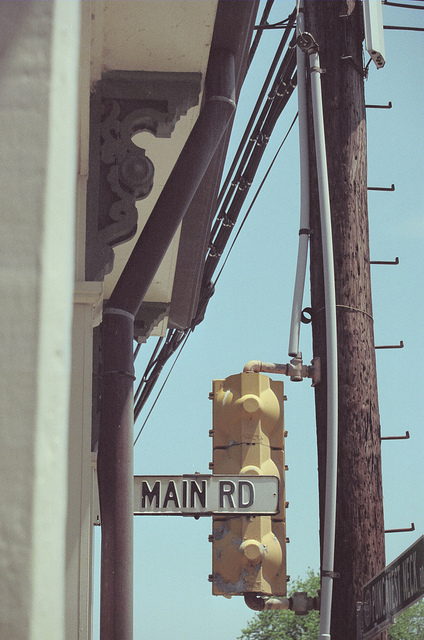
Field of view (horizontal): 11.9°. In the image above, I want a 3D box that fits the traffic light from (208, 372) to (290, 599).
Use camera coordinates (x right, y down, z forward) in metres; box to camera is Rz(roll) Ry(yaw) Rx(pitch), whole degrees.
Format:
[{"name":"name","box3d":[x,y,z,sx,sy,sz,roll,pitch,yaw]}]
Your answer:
[{"name":"traffic light","box3d":[0.193,0.848,10.703,0.420,1.253,0.818,-1,-13,1]}]
